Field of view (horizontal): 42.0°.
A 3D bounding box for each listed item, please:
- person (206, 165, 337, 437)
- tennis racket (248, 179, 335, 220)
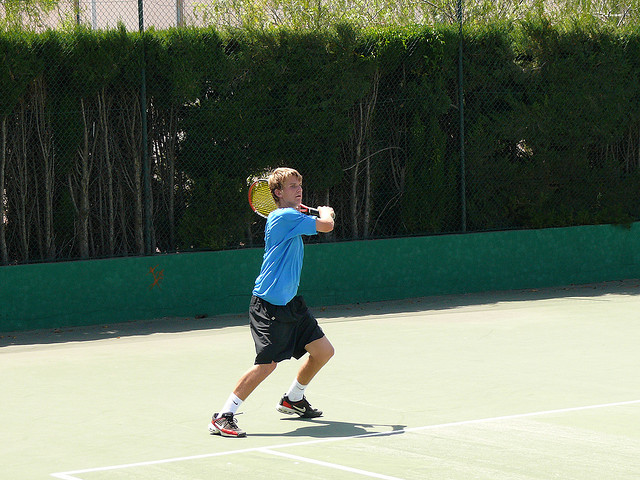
[{"bbox_3d":[-0.379,0.485,7.756,1.023,2.285,1.541,-1,7,1],"label":"person"},{"bbox_3d":[-0.311,-0.331,8.352,0.920,0.403,0.099,17,13,3],"label":"tennis racket"}]
